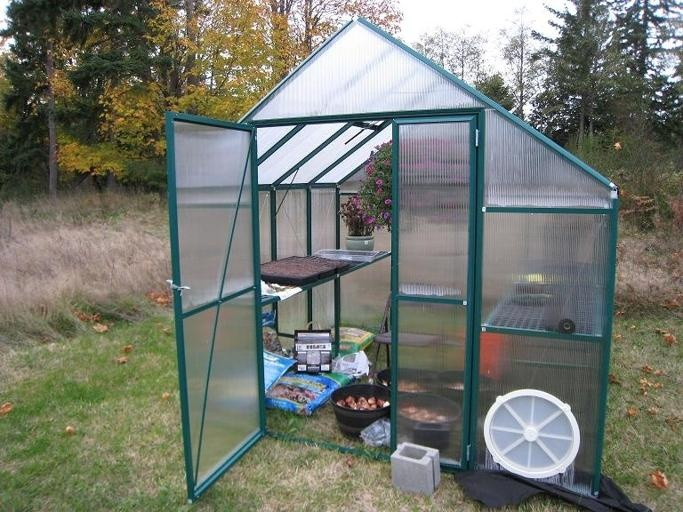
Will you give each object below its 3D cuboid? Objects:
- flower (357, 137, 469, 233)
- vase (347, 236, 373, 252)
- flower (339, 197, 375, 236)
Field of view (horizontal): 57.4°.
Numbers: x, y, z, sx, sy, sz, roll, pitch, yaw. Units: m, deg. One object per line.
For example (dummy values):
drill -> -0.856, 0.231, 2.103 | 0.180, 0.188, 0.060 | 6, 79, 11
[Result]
flower -> 0.570, -0.688, 6.007 | 0.739, 0.595, 0.974 | 1, 10, 14
vase -> 0.235, -0.156, 7.885 | 0.201, 0.162, 0.214 | 2, 4, 31
flower -> 0.177, -0.472, 7.724 | 0.499, 0.639, 0.432 | -1, 10, 8
